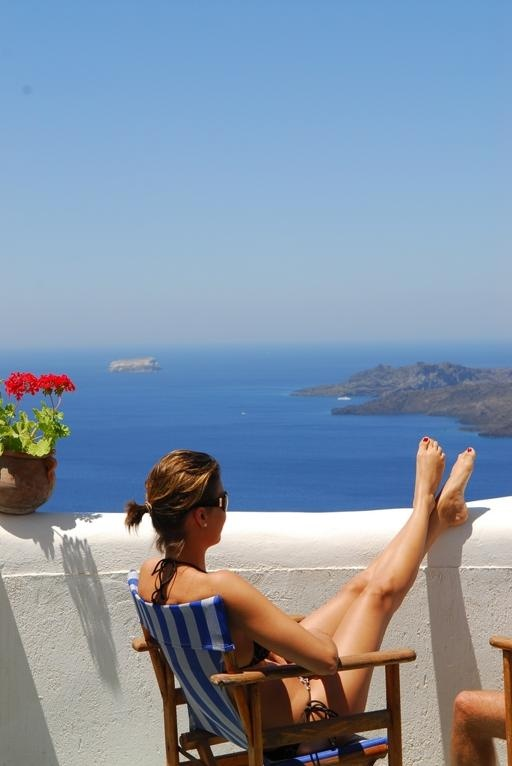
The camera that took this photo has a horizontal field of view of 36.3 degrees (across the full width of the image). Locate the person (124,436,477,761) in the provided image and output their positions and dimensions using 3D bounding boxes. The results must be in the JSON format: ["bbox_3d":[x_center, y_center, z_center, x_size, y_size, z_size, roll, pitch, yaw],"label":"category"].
[{"bbox_3d":[0.160,0.442,1.774,0.990,0.612,0.590,-2,1,-43],"label":"person"}]

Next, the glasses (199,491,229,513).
[{"bbox_3d":[-0.084,0.231,1.517,0.054,0.015,0.042,-2,1,-20],"label":"glasses"}]
